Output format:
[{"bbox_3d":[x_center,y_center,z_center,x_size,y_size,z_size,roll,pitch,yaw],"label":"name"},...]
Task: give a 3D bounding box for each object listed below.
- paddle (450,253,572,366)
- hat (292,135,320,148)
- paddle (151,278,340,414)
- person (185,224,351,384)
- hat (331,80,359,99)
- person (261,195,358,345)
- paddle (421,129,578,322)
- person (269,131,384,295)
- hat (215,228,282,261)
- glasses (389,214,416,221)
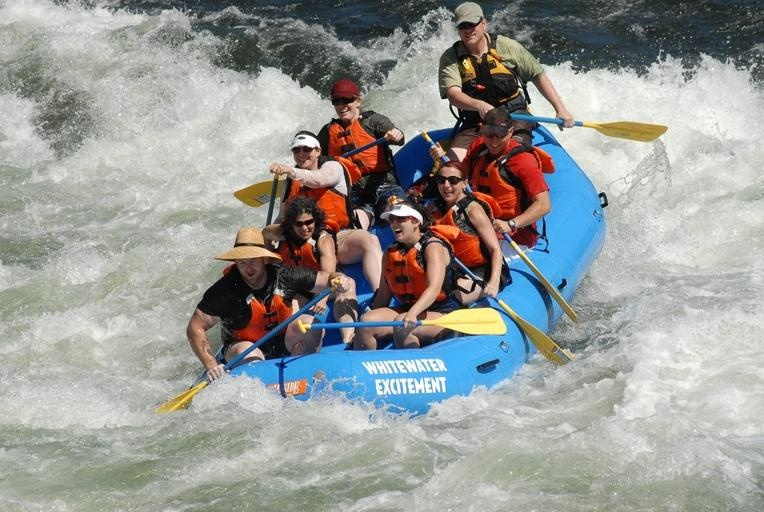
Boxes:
[{"bbox_3d":[1.301,0.543,10.180,0.246,0.133,1.712,-43,56,-8],"label":"paddle"},{"bbox_3d":[-0.797,-1.201,10.211,0.296,0.400,0.124,-1,87,7],"label":"hat"},{"bbox_3d":[-1.289,0.933,9.657,2.297,0.157,0.300,-32,90,-15],"label":"paddle"},{"bbox_3d":[-1.083,0.531,9.748,1.406,0.865,1.447,-23,101,-23],"label":"person"},{"bbox_3d":[-0.420,-1.881,10.906,0.291,0.198,0.259,-7,62,-8],"label":"hat"},{"bbox_3d":[-0.716,0.170,10.002,0.996,0.731,1.401,3,86,-2],"label":"person"},{"bbox_3d":[1.229,-0.244,10.278,2.644,0.383,0.204,50,39,9],"label":"paddle"},{"bbox_3d":[-0.556,-0.413,10.297,1.034,1.048,1.575,-24,53,3],"label":"person"},{"bbox_3d":[-1.291,-0.143,9.569,0.596,0.562,0.255,-11,101,-37],"label":"hat"},{"bbox_3d":[0.202,-0.369,9.529,0.161,0.090,0.035,8,77,-32],"label":"glasses"}]
